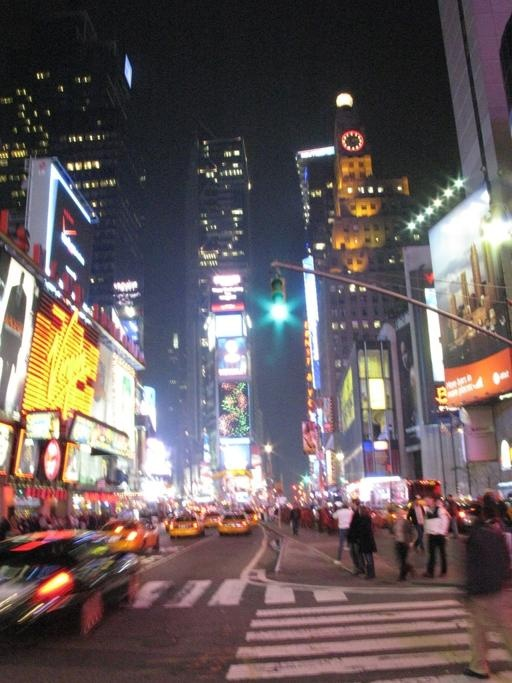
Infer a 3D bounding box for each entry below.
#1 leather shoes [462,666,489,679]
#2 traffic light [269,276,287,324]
[{"bbox_3d":[1.823,2.702,4.116,0.161,0.110,0.074,8,-14,-3],"label":"leather shoes"},{"bbox_3d":[0.598,-1.130,12.704,0.351,1.550,0.726,-2,-14,5],"label":"traffic light"}]
